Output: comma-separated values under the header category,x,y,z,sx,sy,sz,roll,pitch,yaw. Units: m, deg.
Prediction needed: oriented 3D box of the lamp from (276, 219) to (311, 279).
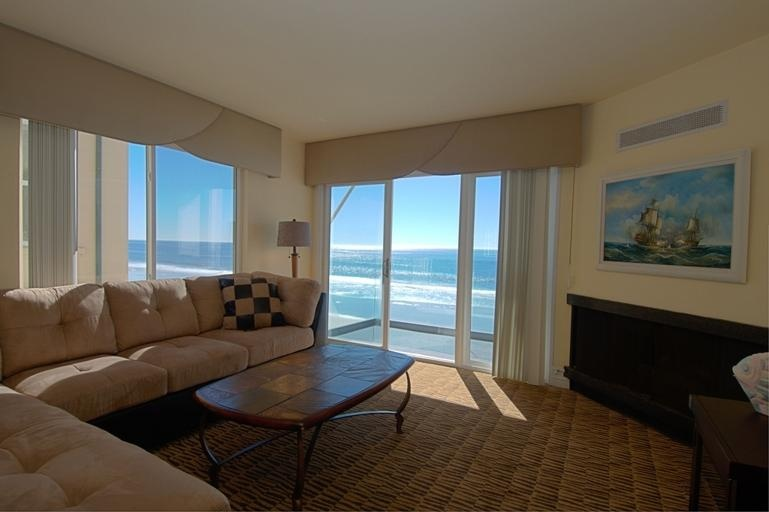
category,x,y,z,sx,sy,sz,roll,pitch,yaw
lamp,-1.169,-0.108,6.274,0.396,0.752,0.608,-2,4,-12

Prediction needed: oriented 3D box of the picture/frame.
category,x,y,z,sx,sy,sz,roll,pitch,yaw
picture/frame,2.617,-0.361,4.386,0.086,1.086,1.413,2,-1,-35
